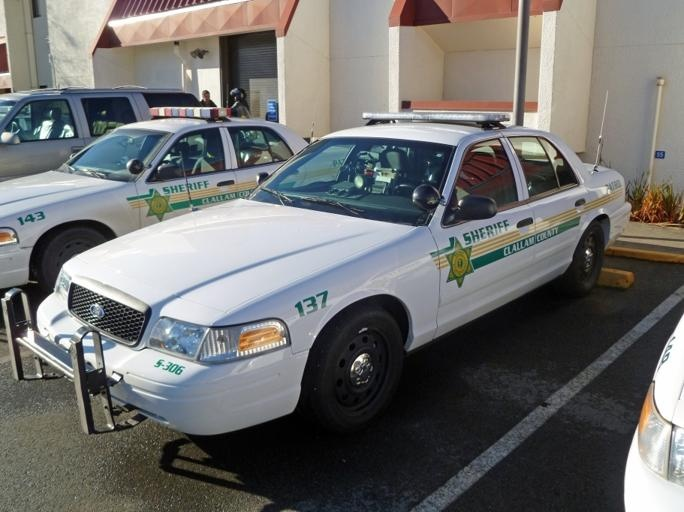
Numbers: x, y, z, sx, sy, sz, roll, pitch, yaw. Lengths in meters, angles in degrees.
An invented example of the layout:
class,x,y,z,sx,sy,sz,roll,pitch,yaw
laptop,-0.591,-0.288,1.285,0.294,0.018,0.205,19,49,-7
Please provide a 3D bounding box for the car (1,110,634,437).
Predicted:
class,x,y,z,sx,sy,sz,roll,pitch,yaw
car,0.587,-0.264,5.153,6.822,2.157,2.337,-19,25,-39

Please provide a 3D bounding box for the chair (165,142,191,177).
class,x,y,z,sx,sy,sz,roll,pitch,yaw
chair,-2.096,-1.220,6.634,0.232,0.460,0.419,-4,20,-20

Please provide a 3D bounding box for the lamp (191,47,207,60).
class,x,y,z,sx,sy,sz,roll,pitch,yaw
lamp,-5.326,-7.503,19.214,0.809,0.396,0.221,12,22,32

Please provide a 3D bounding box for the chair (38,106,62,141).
class,x,y,z,sx,sy,sz,roll,pitch,yaw
chair,-4.926,-2.183,8.718,0.297,0.557,0.246,10,-2,-21
